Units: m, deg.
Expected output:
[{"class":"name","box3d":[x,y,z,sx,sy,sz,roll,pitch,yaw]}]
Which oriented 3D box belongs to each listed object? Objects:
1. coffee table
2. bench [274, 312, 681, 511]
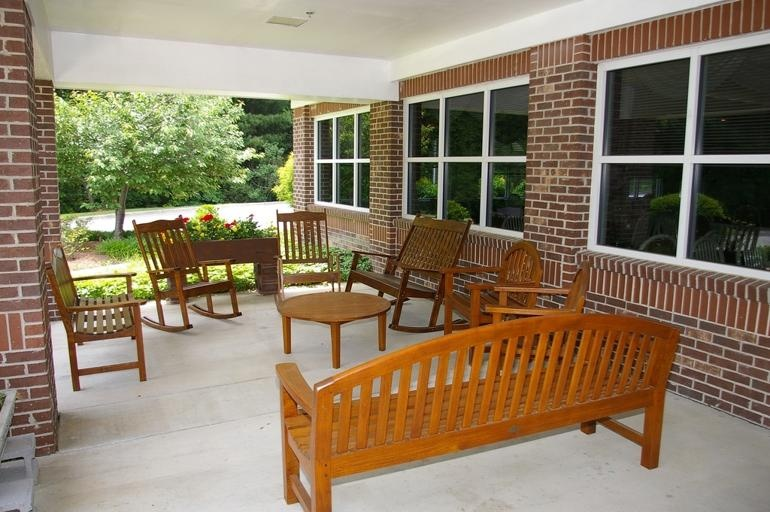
[{"class":"coffee table","box3d":[-0.516,0.766,5.921,1.031,0.365,0.949,-3,7,-30]},{"class":"bench","box3d":[0.605,0.999,3.828,2.660,1.385,1.015,-6,13,-20]}]
